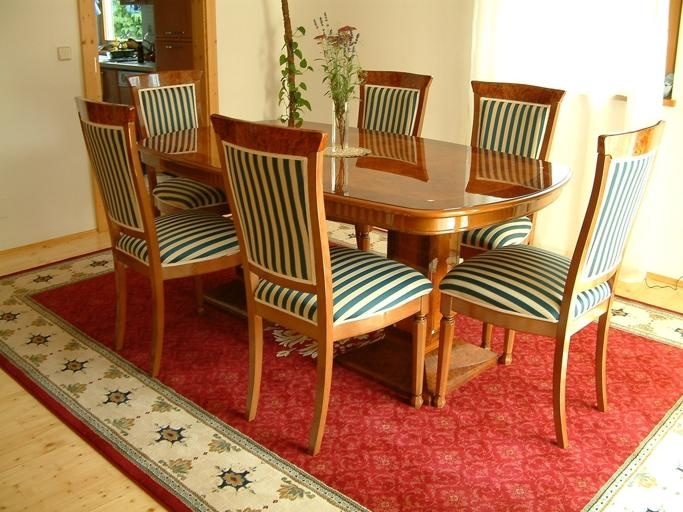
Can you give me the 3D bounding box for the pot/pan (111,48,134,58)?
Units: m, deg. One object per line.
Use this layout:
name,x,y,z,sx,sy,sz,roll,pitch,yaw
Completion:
pot/pan,-2.690,-2.479,6.381,0.304,0.113,0.406,-15,29,-27
